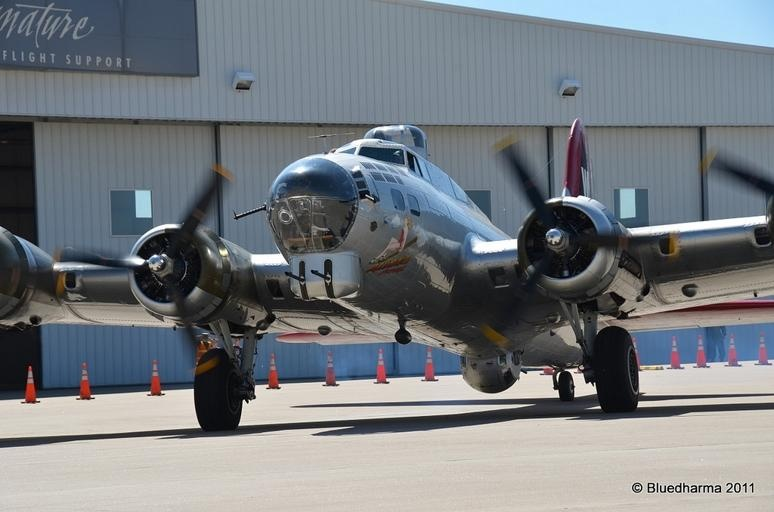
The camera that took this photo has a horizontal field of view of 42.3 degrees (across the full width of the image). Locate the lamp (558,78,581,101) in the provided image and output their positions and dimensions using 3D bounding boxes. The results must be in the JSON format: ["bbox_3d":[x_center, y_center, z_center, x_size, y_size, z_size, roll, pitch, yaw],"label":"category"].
[{"bbox_3d":[7.311,-6.668,39.650,0.911,0.647,0.483,-1,0,1],"label":"lamp"}]
